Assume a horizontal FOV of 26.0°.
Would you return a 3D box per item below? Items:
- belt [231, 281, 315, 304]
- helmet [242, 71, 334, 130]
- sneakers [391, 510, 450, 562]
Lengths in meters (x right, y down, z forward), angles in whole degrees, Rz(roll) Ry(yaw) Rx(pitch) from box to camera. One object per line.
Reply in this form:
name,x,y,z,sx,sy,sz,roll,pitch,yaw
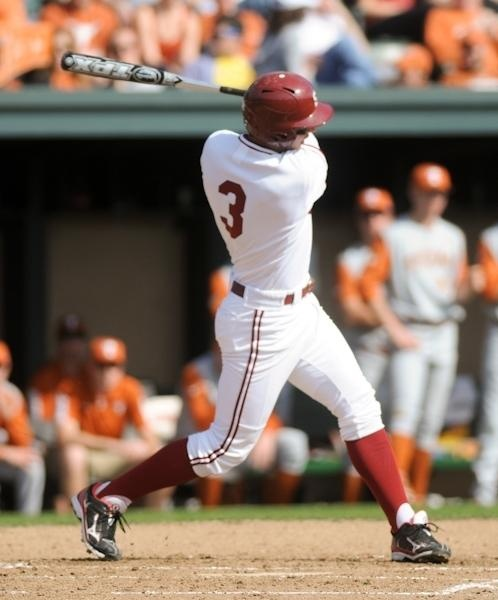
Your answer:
belt,0.055,-0.021,2.652,0.201,0.052,0.102,-1,11,-3
helmet,0.080,-0.462,2.534,0.212,0.089,0.122,1,52,-4
sneakers,0.428,0.611,2.767,0.089,0.108,0.202,10,-16,-43
